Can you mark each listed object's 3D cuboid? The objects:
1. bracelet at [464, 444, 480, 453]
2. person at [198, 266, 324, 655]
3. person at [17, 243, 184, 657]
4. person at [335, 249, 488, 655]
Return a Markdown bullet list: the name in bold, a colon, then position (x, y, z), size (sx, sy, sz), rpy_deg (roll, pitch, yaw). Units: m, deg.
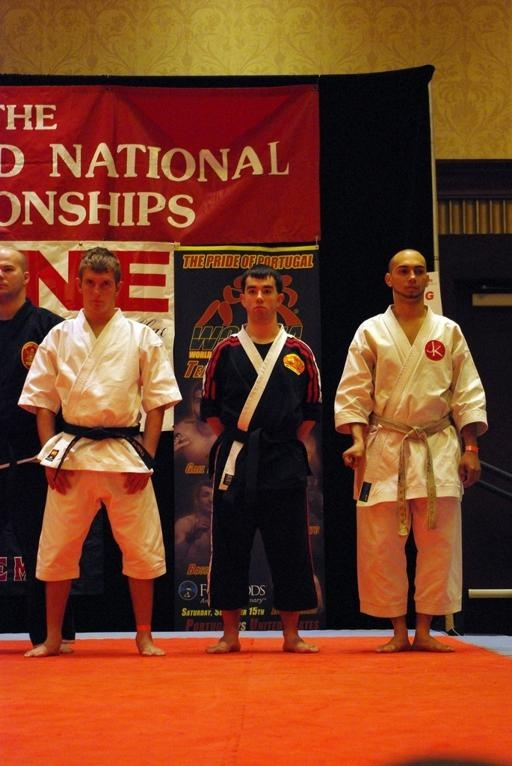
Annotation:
- **bracelet**: position (0.776, 0.240, 2.608), size (0.045, 0.028, 0.047), rpy_deg (3, -10, 2)
- **person**: position (0.004, 0.248, 2.543), size (0.436, 1.326, 0.351), rpy_deg (0, -1, 4)
- **person**: position (-0.540, 0.217, 2.459), size (0.549, 1.392, 0.328), rpy_deg (0, -1, -7)
- **person**: position (0.538, 0.207, 2.570), size (0.518, 1.387, 0.398), rpy_deg (0, -1, 15)
